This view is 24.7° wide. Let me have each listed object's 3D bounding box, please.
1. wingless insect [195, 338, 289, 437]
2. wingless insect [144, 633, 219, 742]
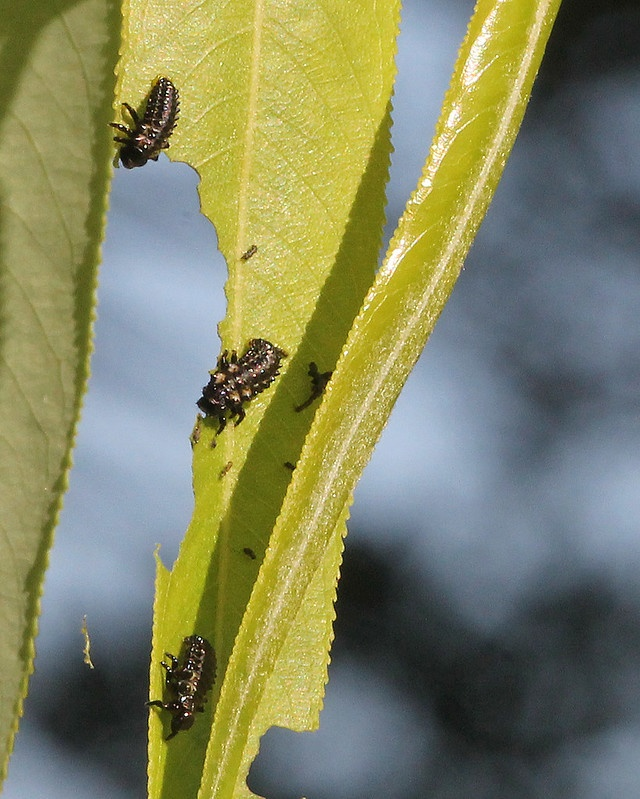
[{"bbox_3d":[-0.206,-0.021,3.096,0.136,0.212,0.062,-15,-30,6],"label":"wingless insect"},{"bbox_3d":[-0.271,0.561,2.961,0.144,0.063,0.209,25,-94,-40],"label":"wingless insect"}]
